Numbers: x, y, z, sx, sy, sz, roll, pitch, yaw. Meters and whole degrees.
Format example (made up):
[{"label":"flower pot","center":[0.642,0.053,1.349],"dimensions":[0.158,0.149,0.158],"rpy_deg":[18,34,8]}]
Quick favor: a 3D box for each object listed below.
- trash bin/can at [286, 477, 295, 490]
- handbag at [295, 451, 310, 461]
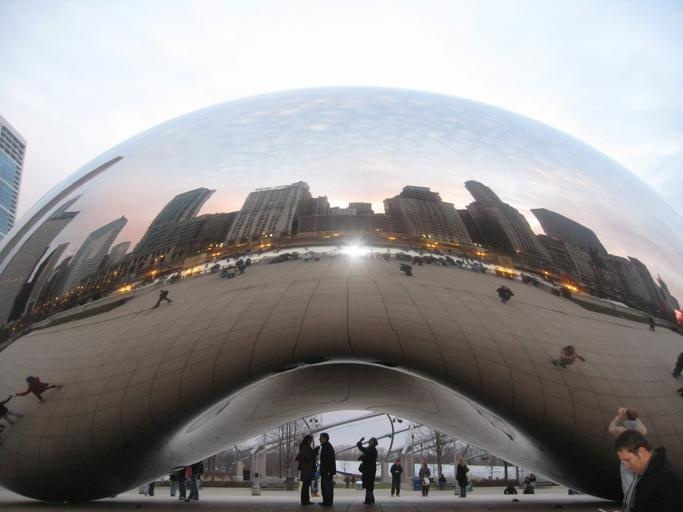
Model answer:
[{"label":"trash bin/can","center":[-2.950,13.610,23.256],"dimensions":[0.540,0.672,0.753],"rpy_deg":[3,-31,-6]},{"label":"handbag","center":[-0.871,4.655,8.998],"dimensions":[0.239,0.078,0.296],"rpy_deg":[-2,-4,6]}]
